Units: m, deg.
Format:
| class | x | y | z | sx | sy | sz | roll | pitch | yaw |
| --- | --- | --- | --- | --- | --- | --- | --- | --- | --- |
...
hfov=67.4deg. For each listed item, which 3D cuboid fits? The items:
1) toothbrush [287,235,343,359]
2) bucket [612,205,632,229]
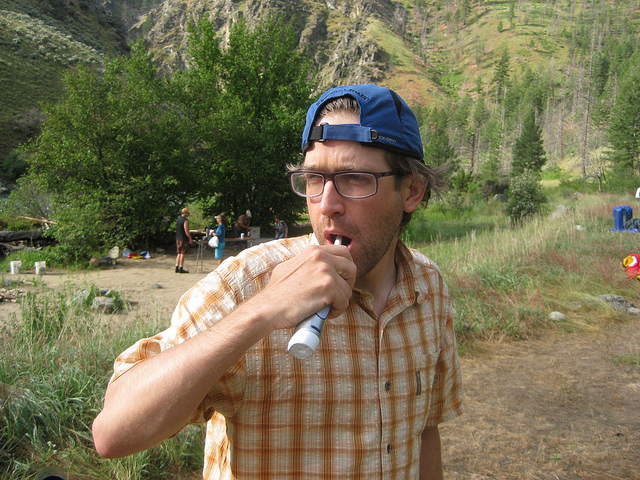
| class | x | y | z | sx | sy | sz | roll | pitch | yaw |
| --- | --- | --- | --- | --- | --- | --- | --- | --- | --- |
| toothbrush | -0.024 | 0.513 | 3.360 | 0.128 | 0.155 | 0.623 | 22 | 49 | 9 |
| bucket | 10.395 | -0.795 | 16.529 | 0.822 | 0.822 | 0.462 | 1 | -1 | -38 |
